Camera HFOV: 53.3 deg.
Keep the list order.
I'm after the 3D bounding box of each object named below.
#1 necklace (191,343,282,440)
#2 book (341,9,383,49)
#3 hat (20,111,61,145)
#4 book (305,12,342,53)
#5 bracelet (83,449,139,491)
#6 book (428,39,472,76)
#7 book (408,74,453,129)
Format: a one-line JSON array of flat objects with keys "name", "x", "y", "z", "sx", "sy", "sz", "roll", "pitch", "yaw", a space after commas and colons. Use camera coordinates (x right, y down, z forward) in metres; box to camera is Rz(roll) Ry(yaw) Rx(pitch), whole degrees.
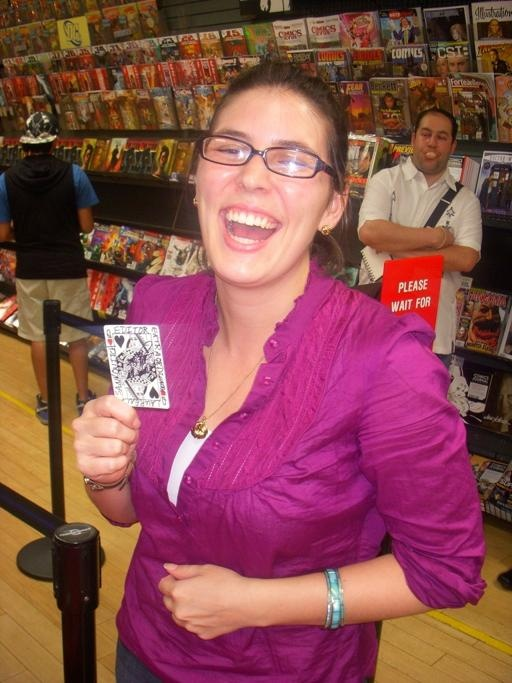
[{"name": "necklace", "x": -0.012, "y": 0.087, "z": 0.937, "sx": 0.069, "sy": 0.032, "sz": 0.240, "roll": 22, "pitch": 68, "yaw": 47}, {"name": "book", "x": 0.586, "y": -1.712, "z": 2.786, "sx": 0.269, "sy": 0.235, "sz": 0.037, "roll": 14, "pitch": 32, "yaw": 39}, {"name": "hat", "x": -1.609, "y": -1.595, "z": 3.837, "sx": 0.242, "sy": 0.185, "sz": 0.291, "roll": 3, "pitch": 49, "yaw": -6}, {"name": "book", "x": 0.397, "y": -1.794, "z": 2.936, "sx": 0.201, "sy": 0.182, "sz": 0.047, "roll": 41, "pitch": 53, "yaw": 12}, {"name": "bracelet", "x": -0.275, "y": 0.264, "z": 1.017, "sx": 0.085, "sy": 0.039, "sz": 0.106, "roll": 7, "pitch": 48, "yaw": 26}, {"name": "book", "x": 0.993, "y": -1.452, "z": 2.580, "sx": 0.227, "sy": 0.190, "sz": 0.030, "roll": 18, "pitch": 51, "yaw": 26}, {"name": "book", "x": 0.940, "y": -1.292, "z": 2.714, "sx": 0.320, "sy": 0.338, "sz": 0.036, "roll": 15, "pitch": 49, "yaw": 27}]
